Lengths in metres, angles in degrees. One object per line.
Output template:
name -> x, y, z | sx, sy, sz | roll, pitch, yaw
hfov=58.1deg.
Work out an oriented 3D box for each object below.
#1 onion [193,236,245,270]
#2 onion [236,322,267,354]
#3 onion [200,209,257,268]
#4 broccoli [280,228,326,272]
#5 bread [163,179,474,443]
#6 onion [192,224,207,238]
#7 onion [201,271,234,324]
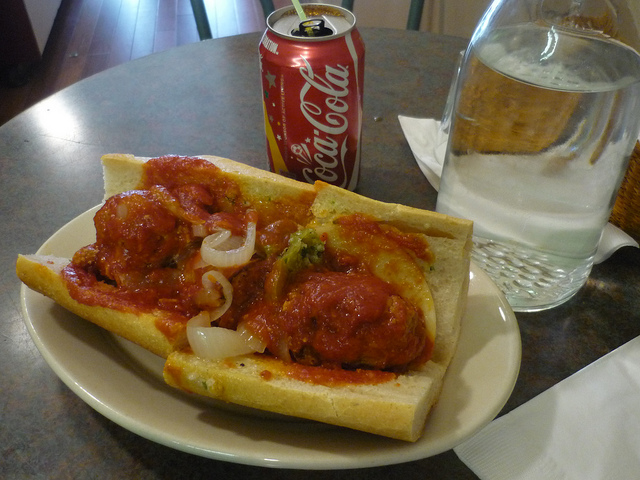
onion -> -0.254, 0.033, 1.490 | 0.115, 0.042, 0.082 | -24, 33, 6
onion -> -0.162, 0.240, 1.423 | 0.077, 0.057, 0.030 | 52, 14, 0
onion -> -0.210, -0.001, 1.432 | 0.086, 0.029, 0.120 | 25, 47, 20
broccoli -> -0.039, -0.003, 1.444 | 0.105, 0.050, 0.132 | 2, 26, 4
bread -> -0.006, 0.219, 1.349 | 0.598, 0.247, 0.615 | 13, 51, 15
onion -> -0.314, -0.023, 1.506 | 0.033, 0.032, 0.013 | 38, 30, 4
onion -> -0.261, 0.143, 1.440 | 0.091, 0.115, 0.031 | 10, 9, 34
